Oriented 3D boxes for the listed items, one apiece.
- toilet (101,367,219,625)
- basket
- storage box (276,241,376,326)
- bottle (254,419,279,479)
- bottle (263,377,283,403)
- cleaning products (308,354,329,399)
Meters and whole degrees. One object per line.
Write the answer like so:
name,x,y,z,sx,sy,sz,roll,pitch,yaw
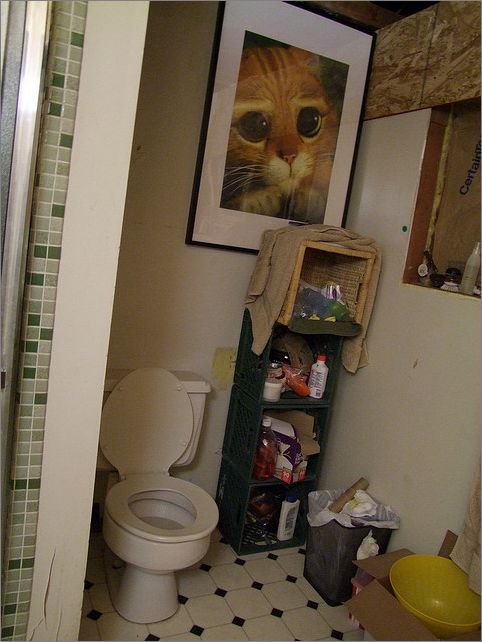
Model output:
toilet,-0.247,0.570,1.793,0.425,0.720,0.522,6,10,-25
basket,0.327,-0.103,2.120,0.432,0.408,0.342,10,3,-21
storage box,0.286,-0.166,2.079,0.343,0.318,0.324,9,30,-9
bottle,0.104,0.503,2.097,0.091,0.243,0.069,12,10,5
bottle,0.118,0.268,2.065,0.088,0.088,0.042,1,14,-44
cleaning products,0.312,0.225,2.167,0.074,0.181,0.054,12,10,6
